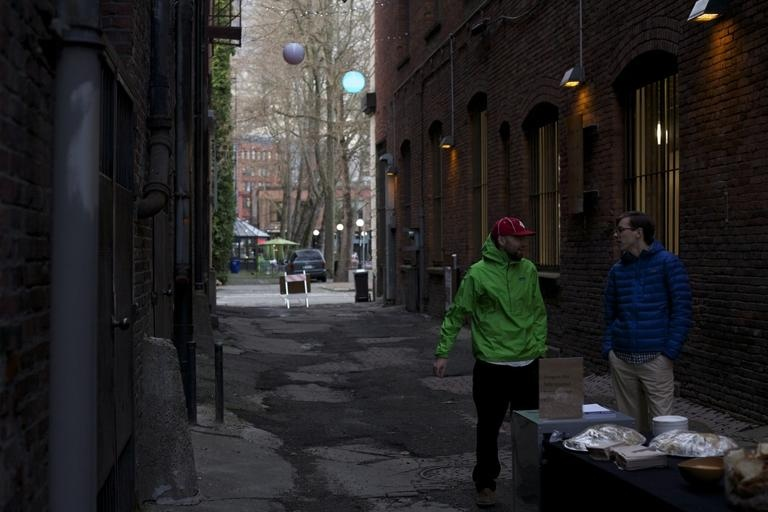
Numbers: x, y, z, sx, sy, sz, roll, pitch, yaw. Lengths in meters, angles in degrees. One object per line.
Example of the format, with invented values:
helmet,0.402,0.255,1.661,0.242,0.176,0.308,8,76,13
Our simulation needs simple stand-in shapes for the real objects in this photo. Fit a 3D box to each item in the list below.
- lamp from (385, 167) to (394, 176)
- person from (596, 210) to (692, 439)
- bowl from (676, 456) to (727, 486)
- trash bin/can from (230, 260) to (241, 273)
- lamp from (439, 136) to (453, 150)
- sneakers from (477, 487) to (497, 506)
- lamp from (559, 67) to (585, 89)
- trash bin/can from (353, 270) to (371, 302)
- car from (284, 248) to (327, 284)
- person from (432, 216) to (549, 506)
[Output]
lamp,0.228,-3.111,25.377,0.284,0.308,0.547,-1,1,-15
person,2.285,0.587,6.096,0.737,1.961,0.352,0,1,35
bowl,1.715,1.158,3.757,0.217,0.113,0.284,0,1,27
trash bin/can,-12.606,0.883,58.426,0.853,0.930,0.885,-2,6,-11
lamp,1.718,-3.036,19.201,0.294,0.460,0.535,1,3,2
sneakers,0.894,2.124,6.110,0.099,0.082,0.186,1,3,6
lamp,3.167,-3.013,11.757,0.309,0.389,0.552,0,0,-4
trash bin/can,-0.909,1.212,28.006,0.594,1.239,1.050,0,1,-1
car,-5.019,0.630,45.104,2.359,2.158,2.979,0,1,-4
person,0.971,0.925,6.190,0.938,2.531,0.375,0,1,6
